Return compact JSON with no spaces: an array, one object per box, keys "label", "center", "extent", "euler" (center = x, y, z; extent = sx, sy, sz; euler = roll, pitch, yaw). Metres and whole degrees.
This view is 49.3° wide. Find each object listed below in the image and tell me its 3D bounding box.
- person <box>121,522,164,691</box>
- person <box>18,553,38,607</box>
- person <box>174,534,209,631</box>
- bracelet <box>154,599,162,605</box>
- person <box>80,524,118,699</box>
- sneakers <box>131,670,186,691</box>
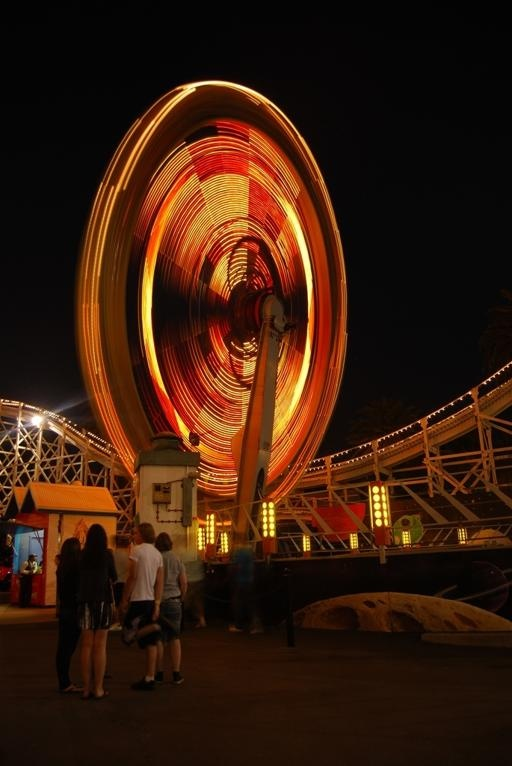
[{"label":"person","center":[-0.997,1.946,4.926],"extent":[0.330,1.379,0.532],"euler":[2,-14,-8]},{"label":"person","center":[-7.065,6.163,17.508],"extent":[0.511,1.550,0.998],"euler":[6,-15,-23]},{"label":"person","center":[-1.326,4.314,11.478],"extent":[0.724,2.599,0.729],"euler":[3,12,12]},{"label":"bracelet","center":[-0.853,1.917,4.893],"extent":[0.064,0.053,0.068],"euler":[-1,-4,5]},{"label":"person","center":[-1.333,1.889,4.746],"extent":[0.438,1.341,0.449],"euler":[5,-20,-26]},{"label":"sneakers","center":[-0.823,2.577,4.913],"extent":[0.504,0.211,0.178],"euler":[9,-27,-20]}]
